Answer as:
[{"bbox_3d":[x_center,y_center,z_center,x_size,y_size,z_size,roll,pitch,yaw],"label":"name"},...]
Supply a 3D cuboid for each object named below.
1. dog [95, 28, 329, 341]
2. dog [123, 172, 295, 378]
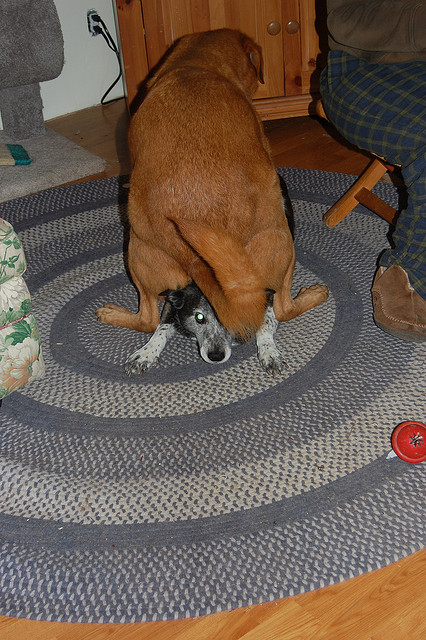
[{"bbox_3d":[-0.020,-0.428,1.491,0.520,0.519,0.947,-5,66,0],"label":"dog"},{"bbox_3d":[-0.024,-0.025,1.556,0.401,0.415,0.737,-1,74,-2],"label":"dog"}]
